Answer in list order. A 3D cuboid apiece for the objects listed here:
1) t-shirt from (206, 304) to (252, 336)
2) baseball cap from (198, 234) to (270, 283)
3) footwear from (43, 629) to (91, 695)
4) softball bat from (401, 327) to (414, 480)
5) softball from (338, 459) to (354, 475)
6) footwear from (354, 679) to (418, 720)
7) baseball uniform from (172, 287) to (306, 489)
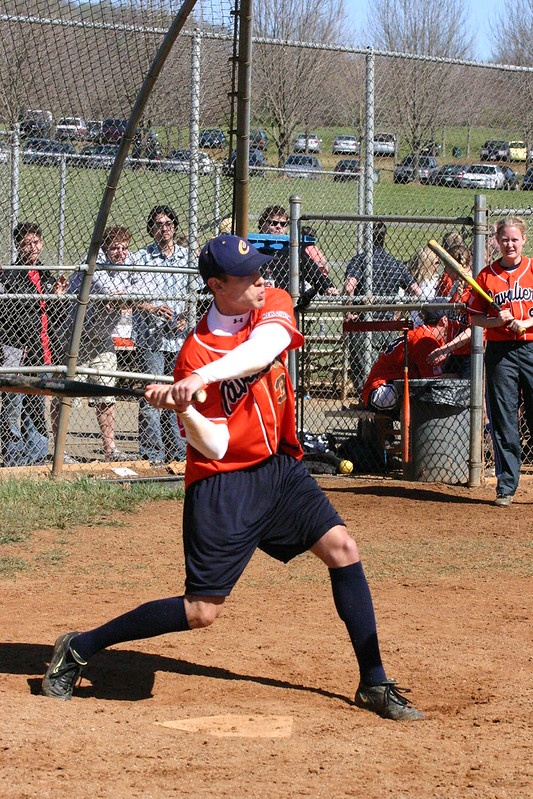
[{"bbox_3d":[-0.123,-0.249,3.196,0.128,0.091,0.080,1,15,2],"label":"t-shirt"},{"bbox_3d":[-0.110,-0.448,3.163,0.196,0.100,0.140,-11,13,15],"label":"baseball cap"},{"bbox_3d":[-0.652,0.899,3.433,0.096,0.273,0.120,26,-29,-29],"label":"footwear"},{"bbox_3d":[1.050,0.059,7.564,0.126,0.122,1.528,8,42,2],"label":"softball bat"},{"bbox_3d":[0.633,0.554,8.117,0.118,0.111,0.130,21,16,-14],"label":"softball"},{"bbox_3d":[0.405,1.005,3.378,0.200,0.079,0.103,12,10,18],"label":"footwear"},{"bbox_3d":[-0.089,-0.037,3.272,0.505,0.646,0.264,-4,8,-35],"label":"baseball uniform"}]
